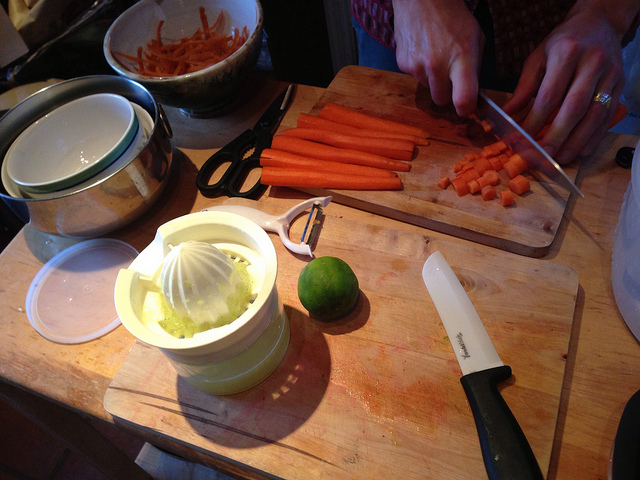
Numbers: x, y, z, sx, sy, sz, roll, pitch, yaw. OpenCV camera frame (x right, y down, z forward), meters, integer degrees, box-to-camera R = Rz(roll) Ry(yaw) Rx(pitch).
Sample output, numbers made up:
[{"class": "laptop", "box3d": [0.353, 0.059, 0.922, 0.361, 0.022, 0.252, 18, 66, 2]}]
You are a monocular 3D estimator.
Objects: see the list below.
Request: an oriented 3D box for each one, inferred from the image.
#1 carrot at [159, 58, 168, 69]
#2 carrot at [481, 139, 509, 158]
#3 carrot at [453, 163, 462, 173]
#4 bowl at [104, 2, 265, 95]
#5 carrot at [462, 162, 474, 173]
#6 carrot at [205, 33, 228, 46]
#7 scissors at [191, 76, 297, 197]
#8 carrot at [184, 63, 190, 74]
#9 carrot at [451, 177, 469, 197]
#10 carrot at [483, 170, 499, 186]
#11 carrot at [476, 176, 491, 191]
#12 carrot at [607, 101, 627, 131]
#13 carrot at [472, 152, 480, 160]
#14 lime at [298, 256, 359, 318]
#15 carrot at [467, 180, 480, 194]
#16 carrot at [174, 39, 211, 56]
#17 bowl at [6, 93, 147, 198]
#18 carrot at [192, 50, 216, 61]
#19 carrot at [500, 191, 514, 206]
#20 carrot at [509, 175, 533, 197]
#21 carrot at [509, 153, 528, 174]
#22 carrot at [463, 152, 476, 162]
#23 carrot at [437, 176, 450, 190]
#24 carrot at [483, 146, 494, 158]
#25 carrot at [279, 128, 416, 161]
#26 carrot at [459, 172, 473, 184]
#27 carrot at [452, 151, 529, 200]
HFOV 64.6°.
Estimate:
[{"class": "carrot", "box3d": [-0.581, -0.656, 1.889, 0.008, 0.002, 0.050, -29, 93, 6]}, {"class": "carrot", "box3d": [0.588, -0.307, 1.705, 0.085, 0.021, 0.051, -23, 51, 10]}, {"class": "carrot", "box3d": [0.454, -0.239, 1.684, 0.026, 0.015, 0.028, 14, 98, 30]}, {"class": "bowl", "box3d": [-0.473, -0.726, 1.917, 0.445, 0.203, 0.474, -6, 46, 7]}, {"class": "carrot", "box3d": [0.490, -0.240, 1.674, 0.039, 0.011, 0.030, -27, 62, -8]}, {"class": "carrot", "box3d": [-0.391, -0.758, 1.927, 0.086, 0.023, 0.018, -27, 46, -19]}, {"class": "scissors", "box3d": [-0.256, -0.400, 1.862, 0.214, 0.055, 0.539, 10, 54, 30]}, {"class": "carrot", "box3d": [-0.496, -0.646, 1.903, 0.012, 0.008, 0.048, 14, 81, 1]}, {"class": "carrot", "box3d": [0.454, -0.172, 1.644, 0.028, 0.037, 0.052, -34, 53, 10]}, {"class": "carrot", "box3d": [0.558, -0.206, 1.649, 0.045, 0.046, 0.052, -7, 61, 7]}, {"class": "carrot", "box3d": [0.532, -0.180, 1.638, 0.036, 0.013, 0.038, -28, 70, -7]}, {"class": "carrot", "box3d": [0.999, -0.418, 1.738, 0.062, 0.073, 0.084, 25, 94, 37]}, {"class": "carrot", "box3d": [0.526, -0.283, 1.703, 0.021, 0.006, 0.024, -27, 55, -27]}, {"class": "lime", "box3d": [0.038, 0.112, 1.458, 0.160, 0.157, 0.208, 6, 30, 10]}, {"class": "carrot", "box3d": [0.495, -0.172, 1.637, 0.036, 0.037, 0.038, -13, 45, -15]}, {"class": "carrot", "box3d": [-0.480, -0.718, 1.917, 0.093, 0.025, 0.072, -19, 97, -2]}, {"class": "bowl", "box3d": [-0.772, -0.291, 1.639, 0.335, 0.123, 0.423, 36, 72, 23]}, {"class": "carrot", "box3d": [-0.431, -0.694, 1.906, 0.090, 0.017, 0.031, -26, 61, -7]}, {"class": "carrot", "box3d": [0.586, -0.133, 1.607, 0.039, 0.040, 0.041, -6, 28, 2]}, {"class": "carrot", "box3d": [0.639, -0.176, 1.618, 0.062, 0.047, 0.063, 38, 76, 21]}, {"class": "carrot", "box3d": [0.646, -0.252, 1.669, 0.043, 0.029, 0.061, -29, 62, -9]}, {"class": "carrot", "box3d": [0.498, -0.278, 1.699, 0.031, 0.016, 0.033, 27, 62, 35]}, {"class": "carrot", "box3d": [0.404, -0.189, 1.661, 0.038, 0.024, 0.039, 30, 67, 24]}, {"class": "carrot", "box3d": [0.565, -0.298, 1.703, 0.026, 0.014, 0.039, -17, 54, 12]}, {"class": "carrot", "box3d": [0.102, -0.393, 1.934, 0.140, 0.110, 0.722, -9, 20, -36]}, {"class": "carrot", "box3d": [0.476, -0.203, 1.647, 0.031, 0.008, 0.032, -6, 64, -4]}, {"class": "carrot", "box3d": [0.547, -0.233, 1.663, 0.211, 0.046, 0.156, -37, 56, -18]}]
